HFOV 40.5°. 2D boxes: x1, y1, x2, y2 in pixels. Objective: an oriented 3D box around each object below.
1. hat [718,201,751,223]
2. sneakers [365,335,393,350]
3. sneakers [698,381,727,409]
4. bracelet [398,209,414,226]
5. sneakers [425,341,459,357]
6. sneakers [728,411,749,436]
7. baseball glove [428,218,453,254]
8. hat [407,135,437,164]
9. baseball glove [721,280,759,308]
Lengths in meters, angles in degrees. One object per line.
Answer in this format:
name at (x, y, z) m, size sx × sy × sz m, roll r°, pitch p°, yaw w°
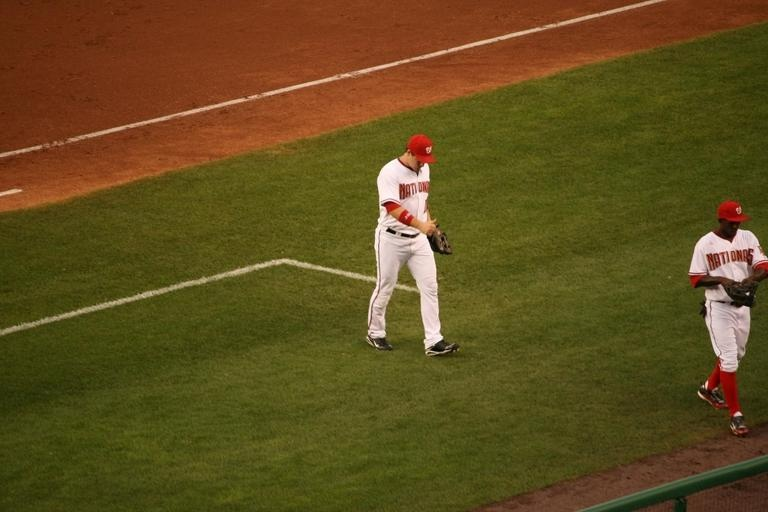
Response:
hat at (3.749, -0.465, 11.209) m, size 0.266 × 0.231 × 0.246 m, roll -2°, pitch 13°, yaw 23°
sneakers at (-0.045, 1.036, 12.404) m, size 0.335 × 0.121 × 0.132 m, roll 13°, pitch 28°, yaw 22°
sneakers at (3.637, 1.556, 11.596) m, size 0.408 × 0.177 × 0.141 m, roll 30°, pitch 33°, yaw 8°
bracelet at (0.252, -0.432, 11.901) m, size 0.130 × 0.170 × 0.187 m, roll -57°, pitch 26°, yaw -16°
sneakers at (0.679, 1.088, 12.274) m, size 0.448 × 0.156 × 0.162 m, roll -7°, pitch 1°, yaw 19°
sneakers at (3.828, 1.798, 11.246) m, size 0.199 × 0.259 × 0.170 m, roll -4°, pitch 13°, yaw 16°
baseball glove at (0.733, -0.199, 12.360) m, size 0.168 × 0.373 × 0.287 m, roll -41°, pitch 45°, yaw -3°
hat at (0.425, -1.227, 12.125) m, size 0.285 × 0.345 × 0.494 m, roll -7°, pitch 11°, yaw 4°
baseball glove at (3.813, 0.407, 11.153) m, size 0.337 × 0.188 × 0.289 m, roll -1°, pitch 0°, yaw -15°
